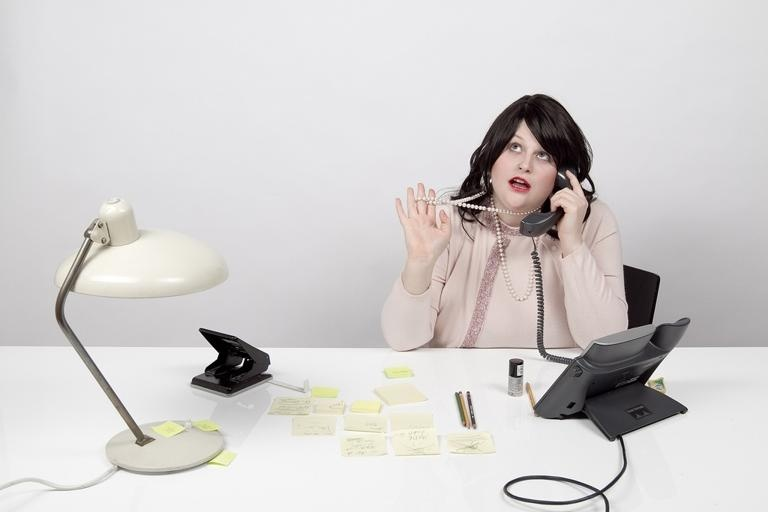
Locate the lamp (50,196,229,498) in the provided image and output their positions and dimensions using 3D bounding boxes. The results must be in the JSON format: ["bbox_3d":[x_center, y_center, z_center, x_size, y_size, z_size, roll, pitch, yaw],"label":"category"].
[{"bbox_3d":[-0.709,0.235,1.722,0.479,0.723,0.480,10,28,19],"label":"lamp"}]

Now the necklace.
[{"bbox_3d":[0.425,-0.100,2.538,0.437,0.584,0.143,2,4,11],"label":"necklace"}]

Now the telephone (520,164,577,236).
[{"bbox_3d":[0.671,-0.218,2.475,0.169,0.071,0.331,11,52,34],"label":"telephone"}]
